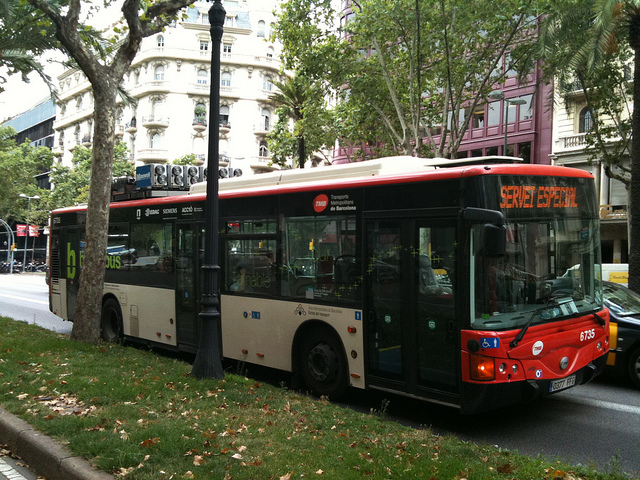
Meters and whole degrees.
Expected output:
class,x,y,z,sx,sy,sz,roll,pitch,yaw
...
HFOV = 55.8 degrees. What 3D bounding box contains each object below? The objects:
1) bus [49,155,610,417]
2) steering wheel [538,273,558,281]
class,x,y,z,sx,sy,sz,roll,pitch,yaw
bus,-1.329,0.755,13.943,4.109,4.430,13.710,1,-3,-43
steering wheel,3.514,0.571,9.259,0.459,0.114,0.014,1,3,-36
